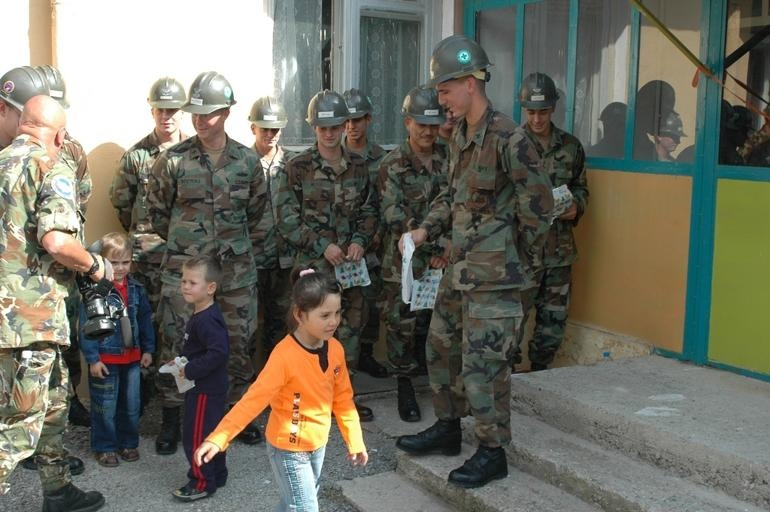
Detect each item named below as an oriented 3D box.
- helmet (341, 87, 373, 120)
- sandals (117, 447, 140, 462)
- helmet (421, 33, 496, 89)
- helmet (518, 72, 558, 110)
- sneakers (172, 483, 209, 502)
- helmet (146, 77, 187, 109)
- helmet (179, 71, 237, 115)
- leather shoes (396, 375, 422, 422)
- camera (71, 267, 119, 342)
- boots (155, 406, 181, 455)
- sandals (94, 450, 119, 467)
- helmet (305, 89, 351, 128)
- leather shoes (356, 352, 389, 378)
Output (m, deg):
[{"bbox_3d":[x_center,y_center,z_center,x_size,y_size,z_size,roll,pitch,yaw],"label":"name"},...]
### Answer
[{"bbox_3d":[-0.242,-1.333,5.786,0.227,0.167,0.288,-3,22,4],"label":"helmet"},{"bbox_3d":[-1.842,1.439,4.755,0.163,0.071,0.066,0,0,44],"label":"sandals"},{"bbox_3d":[0.443,-1.240,4.148,0.363,0.235,0.266,-8,15,-15],"label":"helmet"},{"bbox_3d":[1.293,-1.395,5.568,0.256,0.212,0.349,1,18,8],"label":"helmet"},{"bbox_3d":[-1.264,1.558,4.319,0.196,0.085,0.093,7,-4,-18],"label":"sneakers"},{"bbox_3d":[-1.846,-1.349,5.541,0.337,0.231,0.415,0,17,-13],"label":"helmet"},{"bbox_3d":[-1.348,-1.227,5.015,0.296,0.232,0.380,16,23,21],"label":"helmet"},{"bbox_3d":[0.185,1.187,5.368,0.135,0.151,0.392,-4,13,-12],"label":"leather shoes"},{"bbox_3d":[-1.737,0.289,4.030,0.243,0.413,0.213,-6,-18,-20],"label":"camera"},{"bbox_3d":[-1.628,1.308,4.932,0.149,0.299,0.417,-2,3,-6],"label":"boots"},{"bbox_3d":[-1.972,1.458,4.692,0.077,0.077,0.176,0,2,-42],"label":"sandals"},{"bbox_3d":[-0.476,-1.223,5.491,0.274,0.196,0.339,0,16,2],"label":"helmet"},{"bbox_3d":[-0.126,1.055,6.412,0.323,0.206,0.170,10,12,34],"label":"leather shoes"}]
